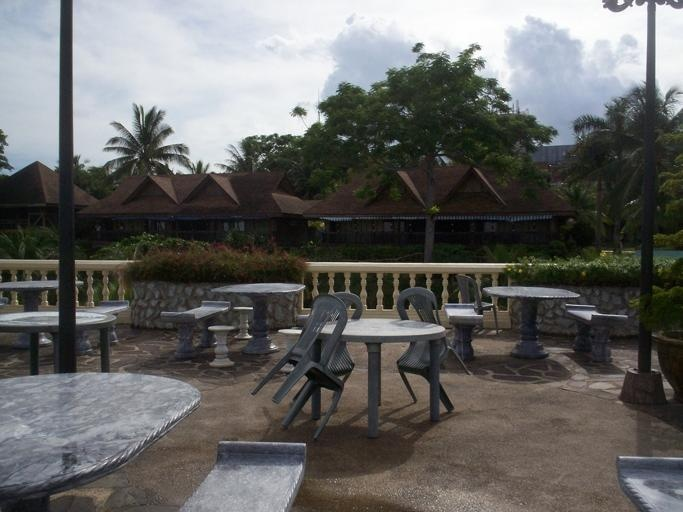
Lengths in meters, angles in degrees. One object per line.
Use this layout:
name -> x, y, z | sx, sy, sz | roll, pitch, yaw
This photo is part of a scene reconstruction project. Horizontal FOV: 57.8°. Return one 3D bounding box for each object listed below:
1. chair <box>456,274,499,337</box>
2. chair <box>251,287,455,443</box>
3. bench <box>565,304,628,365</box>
chair -> 2.432, 0.877, 11.062 | 0.745, 1.065, 0.677 | -2, 4, -8
chair -> 0.104, 1.173, 6.990 | 1.856, 1.398, 1.444 | -1, 2, -25
bench -> 4.193, 1.248, 10.348 | 0.642, 0.745, 1.539 | 1, 5, 7
